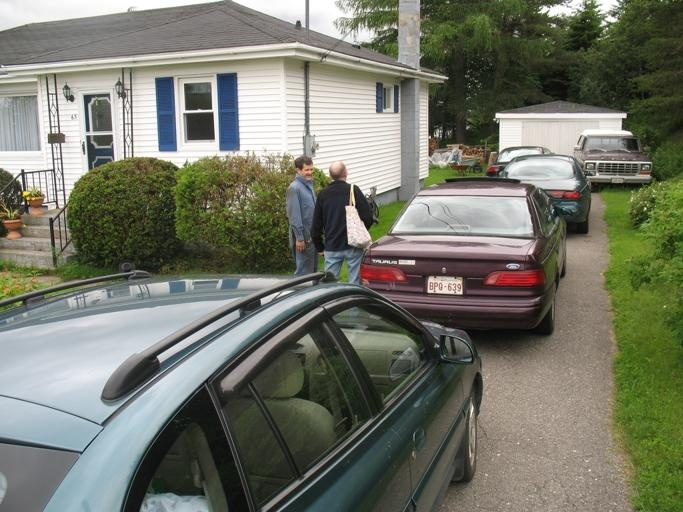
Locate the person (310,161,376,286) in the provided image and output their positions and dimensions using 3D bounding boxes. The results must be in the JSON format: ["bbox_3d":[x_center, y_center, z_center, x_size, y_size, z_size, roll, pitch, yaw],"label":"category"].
[{"bbox_3d":[-0.021,-0.320,7.831,0.741,1.978,0.593,0,25,3],"label":"person"}]

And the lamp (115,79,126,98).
[{"bbox_3d":[-4.934,-3.707,12.759,0.380,0.422,0.140,7,14,42],"label":"lamp"}]

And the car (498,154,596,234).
[{"bbox_3d":[4.804,-1.342,12.883,1.316,1.097,3.110,1,15,22],"label":"car"}]

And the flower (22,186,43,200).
[{"bbox_3d":[-6.915,-1.395,12.830,0.356,0.253,0.375,11,12,34],"label":"flower"}]

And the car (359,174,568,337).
[{"bbox_3d":[1.811,-0.172,7.349,1.239,1.084,3.136,4,17,24],"label":"car"}]

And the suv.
[{"bbox_3d":[9.886,-3.603,21.073,1.689,1.540,3.203,0,9,14],"label":"suv"}]

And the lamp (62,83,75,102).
[{"bbox_3d":[-6.305,-3.758,13.264,0.287,0.422,0.152,5,13,35],"label":"lamp"}]

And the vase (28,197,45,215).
[{"bbox_3d":[-6.859,-1.132,12.876,0.312,0.331,0.347,-7,11,4],"label":"vase"}]
